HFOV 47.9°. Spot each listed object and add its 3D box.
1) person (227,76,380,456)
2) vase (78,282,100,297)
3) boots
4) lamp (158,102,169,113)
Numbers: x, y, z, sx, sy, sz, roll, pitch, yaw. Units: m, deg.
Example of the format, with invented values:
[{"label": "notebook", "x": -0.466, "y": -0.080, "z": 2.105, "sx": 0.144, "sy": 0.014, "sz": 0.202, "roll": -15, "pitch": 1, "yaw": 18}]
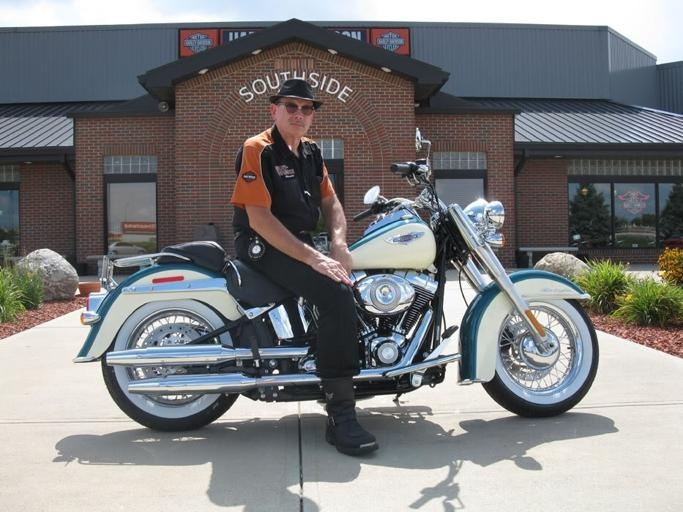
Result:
[{"label": "person", "x": -0.245, "y": 0.011, "z": 6.944, "sx": 1.363, "sy": 3.113, "sz": 0.904, "roll": 9, "pitch": 17, "yaw": 35}, {"label": "vase", "x": -4.183, "y": 0.536, "z": 12.659, "sx": 0.320, "sy": 0.152, "sz": 0.325, "roll": 1, "pitch": 1, "yaw": 27}, {"label": "boots", "x": 0.059, "y": 1.350, "z": 6.672, "sx": 0.300, "sy": 0.652, "sz": 0.675, "roll": -4, "pitch": 5, "yaw": -27}, {"label": "lamp", "x": -4.223, "y": -3.520, "z": 18.189, "sx": 0.226, "sy": 0.252, "sz": 0.429, "roll": -4, "pitch": 14, "yaw": -10}]
